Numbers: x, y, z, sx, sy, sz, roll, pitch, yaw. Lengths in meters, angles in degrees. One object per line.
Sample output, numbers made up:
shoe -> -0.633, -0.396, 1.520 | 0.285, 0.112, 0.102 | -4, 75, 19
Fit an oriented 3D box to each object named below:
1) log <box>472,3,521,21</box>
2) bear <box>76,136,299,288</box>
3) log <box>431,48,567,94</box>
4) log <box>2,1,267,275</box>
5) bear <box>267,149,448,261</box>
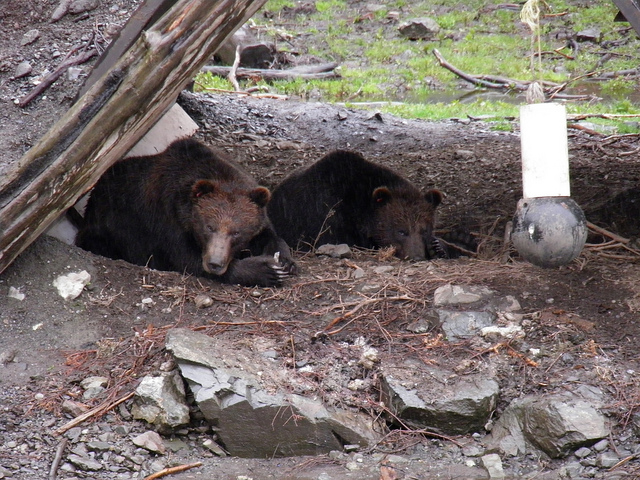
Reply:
log -> 5.129, -6.798, 21.993 | 1.449, 0.175, 0.533 | -5, 7, 42
bear -> -1.217, -0.285, 7.220 | 2.322, 1.047, 1.199 | 15, 20, 5
log -> 3.227, -3.348, 14.962 | 1.750, 0.872, 3.048 | 4, 19, 11
log -> -1.614, -0.848, 5.909 | 2.029, 1.997, 0.306 | -11, 27, -27
bear -> 0.399, -0.454, 8.594 | 2.290, 1.057, 1.121 | 11, 12, 16
